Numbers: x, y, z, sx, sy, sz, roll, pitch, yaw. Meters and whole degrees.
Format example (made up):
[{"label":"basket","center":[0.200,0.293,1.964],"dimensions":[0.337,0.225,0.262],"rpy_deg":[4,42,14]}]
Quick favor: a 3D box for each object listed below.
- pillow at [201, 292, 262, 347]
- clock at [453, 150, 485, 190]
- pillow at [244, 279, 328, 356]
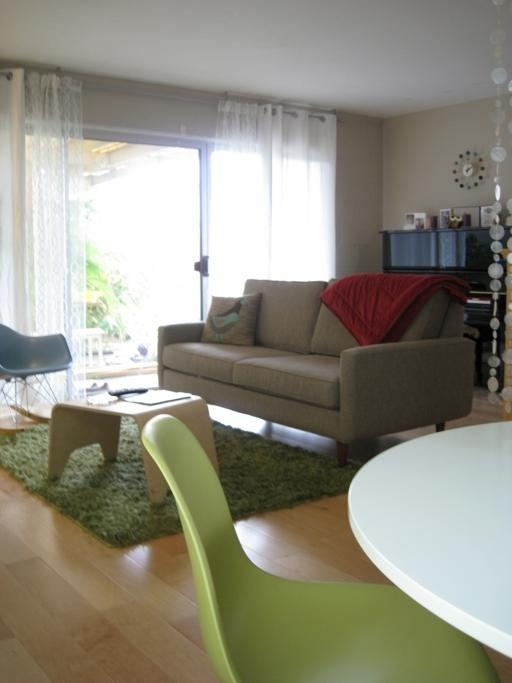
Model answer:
[{"label":"pillow","center":[-0.184,-0.172,4.323],"dimensions":[0.464,0.443,0.223],"rpy_deg":[4,0,32]},{"label":"clock","center":[2.337,-1.893,5.752],"dimensions":[0.070,0.426,0.387],"rpy_deg":[-5,8,-32]},{"label":"pillow","center":[0.256,-0.201,4.117],"dimensions":[0.141,0.562,0.579],"rpy_deg":[8,1,-42]}]
